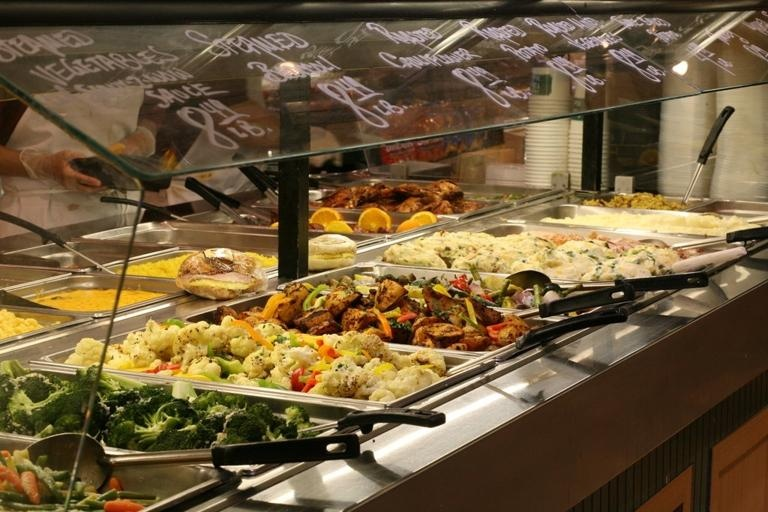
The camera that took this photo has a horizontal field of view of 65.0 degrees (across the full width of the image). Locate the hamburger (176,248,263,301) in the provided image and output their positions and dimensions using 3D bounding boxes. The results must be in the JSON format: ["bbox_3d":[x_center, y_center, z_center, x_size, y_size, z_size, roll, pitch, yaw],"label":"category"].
[{"bbox_3d":[-0.563,0.066,2.091,0.292,0.182,0.080,2,-23,-10],"label":"hamburger"}]
